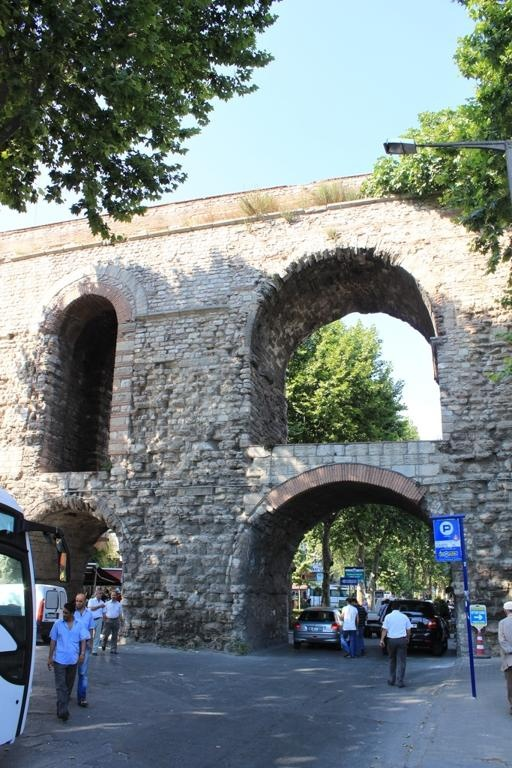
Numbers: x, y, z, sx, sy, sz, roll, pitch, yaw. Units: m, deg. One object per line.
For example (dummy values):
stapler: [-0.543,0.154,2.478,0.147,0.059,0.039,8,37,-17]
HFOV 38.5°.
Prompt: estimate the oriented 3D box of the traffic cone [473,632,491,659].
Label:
traffic cone: [4.147,4.838,13.514,0.281,0.467,0.873,-5,-14,16]
